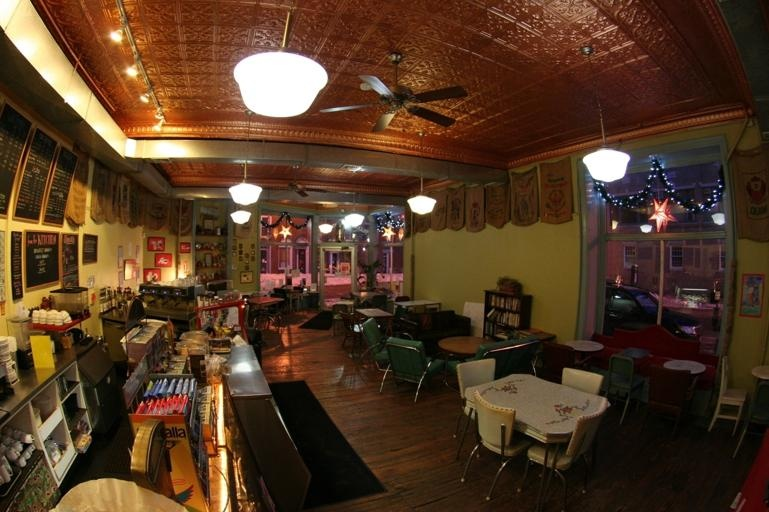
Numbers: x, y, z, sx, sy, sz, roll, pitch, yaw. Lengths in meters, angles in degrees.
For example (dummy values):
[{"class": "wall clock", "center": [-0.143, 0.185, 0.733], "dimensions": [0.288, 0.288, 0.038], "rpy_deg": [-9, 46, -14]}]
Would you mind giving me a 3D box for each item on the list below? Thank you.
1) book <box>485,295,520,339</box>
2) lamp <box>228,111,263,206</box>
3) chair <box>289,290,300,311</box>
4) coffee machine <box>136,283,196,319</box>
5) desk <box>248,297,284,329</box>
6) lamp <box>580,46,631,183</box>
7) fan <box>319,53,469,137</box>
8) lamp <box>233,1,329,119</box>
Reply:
[{"class": "book", "center": [2.477, 1.283, 10.259], "dimensions": [0.291, 0.895, 0.858], "rpy_deg": [8, -8, -21]}, {"class": "lamp", "center": [-2.888, -1.598, 10.330], "dimensions": [0.553, 1.578, 5.133], "rpy_deg": [-2, 0, -15]}, {"class": "chair", "center": [-2.847, 1.419, 15.743], "dimensions": [0.334, 0.701, 1.014], "rpy_deg": [-2, 0, -9]}, {"class": "coffee machine", "center": [-4.529, 0.933, 10.278], "dimensions": [1.118, 0.649, 0.399], "rpy_deg": [4, 6, 10]}, {"class": "desk", "center": [-3.140, 1.588, 13.464], "dimensions": [0.696, 0.618, 0.696], "rpy_deg": [-4, 0, 3]}, {"class": "lamp", "center": [3.280, -1.931, 7.417], "dimensions": [0.583, 1.868, 2.327], "rpy_deg": [-2, 0, 23]}, {"class": "fan", "center": [0.187, -2.291, 7.006], "dimensions": [1.494, 1.037, 1.793], "rpy_deg": [-2, 0, -12]}, {"class": "lamp", "center": [-1.076, -1.876, 5.316], "dimensions": [0.840, 1.131, 0.825], "rpy_deg": [4, -33, -7]}]
